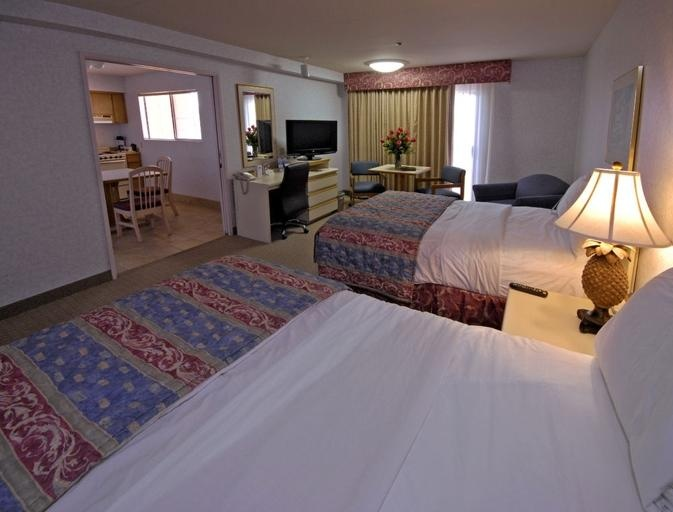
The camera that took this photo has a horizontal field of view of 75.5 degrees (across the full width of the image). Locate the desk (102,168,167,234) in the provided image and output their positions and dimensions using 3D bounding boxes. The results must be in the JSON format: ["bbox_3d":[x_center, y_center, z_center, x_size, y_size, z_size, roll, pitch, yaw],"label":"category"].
[{"bbox_3d":[-2.648,-0.714,5.670,0.633,1.060,0.632,25,29,35],"label":"desk"}]

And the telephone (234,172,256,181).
[{"bbox_3d":[-1.177,-1.038,5.613,0.379,0.089,0.212,17,26,41],"label":"telephone"}]

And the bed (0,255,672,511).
[{"bbox_3d":[-0.088,0.447,1.762,2.519,0.505,1.090,1,20,5],"label":"bed"}]

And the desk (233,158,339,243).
[{"bbox_3d":[-0.642,-0.816,6.218,0.665,0.747,1.649,11,23,33],"label":"desk"}]

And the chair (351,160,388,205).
[{"bbox_3d":[0.502,-1.159,7.126,0.574,0.729,0.536,0,18,1],"label":"chair"}]

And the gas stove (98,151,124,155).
[{"bbox_3d":[-3.976,-1.826,7.709,0.401,0.030,0.659,-10,22,-25],"label":"gas stove"}]

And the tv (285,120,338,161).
[{"bbox_3d":[-0.428,-1.820,6.900,0.239,0.644,1.149,15,22,38],"label":"tv"}]

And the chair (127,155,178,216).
[{"bbox_3d":[-2.668,-0.973,6.486,0.626,0.795,0.630,-3,10,9],"label":"chair"}]

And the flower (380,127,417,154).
[{"bbox_3d":[0.999,-1.824,6.839,0.484,0.442,0.492,15,27,30],"label":"flower"}]

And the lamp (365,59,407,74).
[{"bbox_3d":[0.651,-2.553,5.798,0.437,0.131,0.443,-8,21,-18],"label":"lamp"}]

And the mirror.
[{"bbox_3d":[-1.117,-1.821,5.949,0.054,1.231,1.090,7,17,23],"label":"mirror"}]

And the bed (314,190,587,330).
[{"bbox_3d":[0.856,-0.042,3.459,1.462,0.434,1.186,15,33,27],"label":"bed"}]

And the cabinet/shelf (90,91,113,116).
[{"bbox_3d":[-3.996,-2.586,7.419,0.140,0.416,0.399,5,20,17],"label":"cabinet/shelf"}]

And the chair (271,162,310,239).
[{"bbox_3d":[-0.731,-0.750,5.622,0.622,0.919,0.607,12,22,30],"label":"chair"}]
